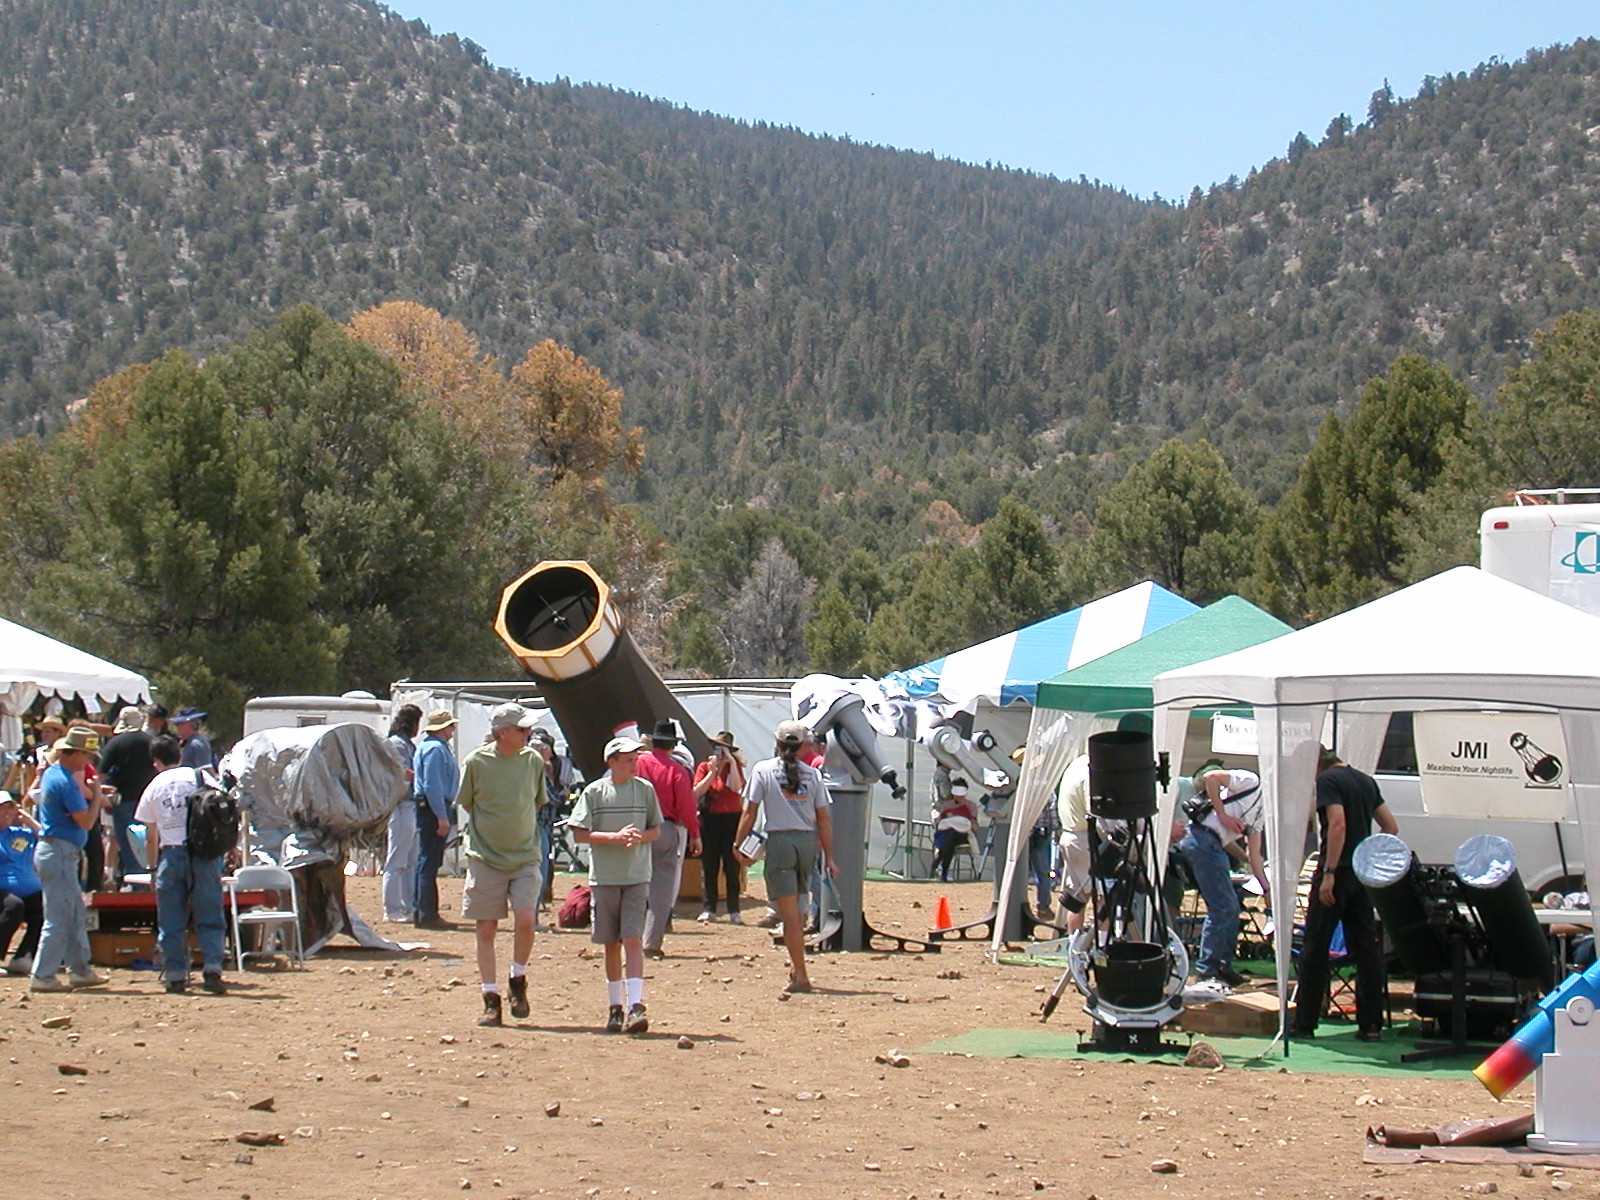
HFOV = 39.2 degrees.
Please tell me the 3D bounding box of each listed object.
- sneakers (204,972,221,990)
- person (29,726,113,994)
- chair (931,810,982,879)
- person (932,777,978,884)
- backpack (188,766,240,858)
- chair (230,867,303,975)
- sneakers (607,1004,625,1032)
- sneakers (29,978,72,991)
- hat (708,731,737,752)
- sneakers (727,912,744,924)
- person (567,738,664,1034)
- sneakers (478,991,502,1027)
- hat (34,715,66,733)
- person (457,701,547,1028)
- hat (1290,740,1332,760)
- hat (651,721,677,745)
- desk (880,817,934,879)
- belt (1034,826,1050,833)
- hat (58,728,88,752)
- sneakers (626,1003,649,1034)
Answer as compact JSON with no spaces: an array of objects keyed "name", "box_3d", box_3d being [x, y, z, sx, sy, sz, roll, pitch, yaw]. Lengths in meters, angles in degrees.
[{"name":"sneakers","box_3d":[-5.231,3.420,20.025,0.122,0.144,0.232,3,-5,-10]},{"name":"person","box_3d":[-6.566,2.336,20.105,0.540,2.316,0.600,2,-6,-10]},{"name":"chair","box_3d":[2.319,3.594,33.054,0.552,1.511,0.771,2,-39,7]},{"name":"person","box_3d":[2.293,3.401,32.961,0.647,1.473,1.033,1,-7,4]},{"name":"backpack","box_3d":[-5.313,1.944,20.214,0.380,0.857,0.532,-1,4,12]},{"name":"chair","box_3d":[-5.154,3.100,21.638,0.743,1.083,0.816,-7,-10,11]},{"name":"sneakers","box_3d":[-1.527,3.507,18.724,0.119,0.187,0.397,0,-9,-3]},{"name":"sneakers","box_3d":[-6.716,3.443,20.019,0.288,0.151,0.127,0,5,-5]},{"name":"hat","box_3d":[-0.828,1.598,25.661,0.219,0.103,0.260,25,-15,34]},{"name":"sneakers","box_3d":[-0.751,3.750,26.292,0.148,0.183,0.083,1,6,9]},{"name":"person","box_3d":[-1.532,2.356,18.722,0.687,2.479,0.647,2,-6,-6]},{"name":"sneakers","box_3d":[-2.634,3.420,18.760,0.140,0.319,0.284,1,5,-36]},{"name":"hat","box_3d":[-8.427,1.428,25.315,0.277,0.143,0.357,3,-11,-1]},{"name":"person","box_3d":[-2.509,2.229,18.765,0.759,2.662,0.468,4,-7,-29]},{"name":"hat","box_3d":[4.381,1.294,18.912,0.309,0.139,0.250,6,3,-14]},{"name":"hat","box_3d":[-1.350,1.323,22.402,0.176,0.261,0.243,7,1,-21]},{"name":"desk","box_3d":[1.625,3.831,34.120,0.772,0.889,0.786,-1,1,-37]},{"name":"belt","box_3d":[2.735,2.594,25.316,0.151,0.097,0.240,-1,-8,0]},{"name":"hat","box_3d":[-6.606,1.289,20.308,0.235,0.121,0.218,-9,12,4]},{"name":"sneakers","box_3d":[-1.339,3.483,18.548,0.103,0.128,0.282,1,-34,-8]}]
